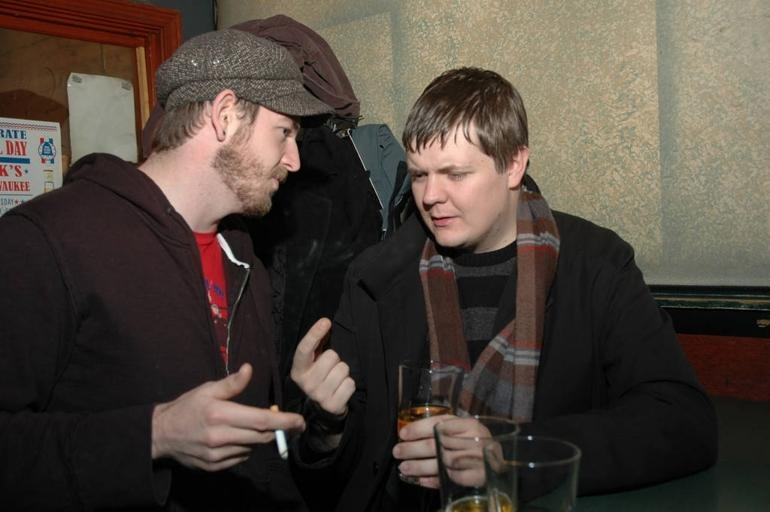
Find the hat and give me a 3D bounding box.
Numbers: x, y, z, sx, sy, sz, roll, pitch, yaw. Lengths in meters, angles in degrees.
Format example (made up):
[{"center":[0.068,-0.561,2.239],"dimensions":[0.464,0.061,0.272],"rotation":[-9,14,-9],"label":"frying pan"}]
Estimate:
[{"center":[-0.557,-0.627,2.423],"dimensions":[0.498,0.217,0.336],"rotation":[4,10,-9],"label":"hat"}]
